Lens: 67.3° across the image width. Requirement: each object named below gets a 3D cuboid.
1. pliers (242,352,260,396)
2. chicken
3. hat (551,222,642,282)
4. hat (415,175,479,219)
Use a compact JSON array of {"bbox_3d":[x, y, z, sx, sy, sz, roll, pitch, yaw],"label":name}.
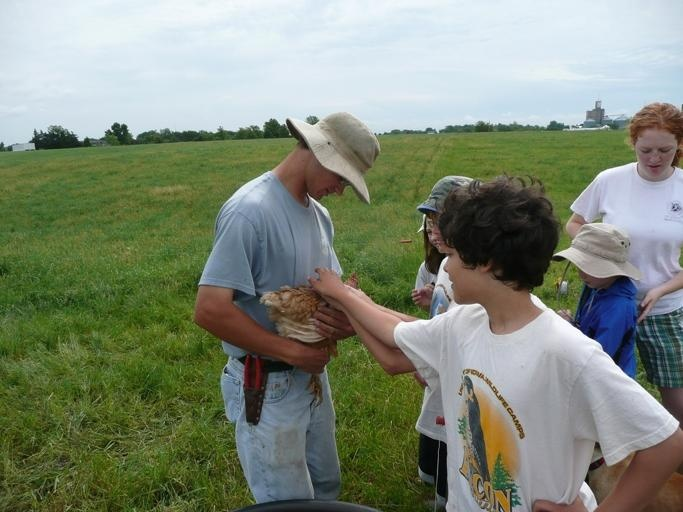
[{"bbox_3d":[-0.610,0.788,3.512,0.113,0.290,0.031,4,19,-2],"label":"pliers"},{"bbox_3d":[-0.189,0.400,3.480,0.703,0.656,0.256,3,-26,-7],"label":"chicken"},{"bbox_3d":[2.117,0.036,4.395,0.580,0.567,0.690,0,19,-27],"label":"hat"},{"bbox_3d":[0.847,-0.519,4.231,0.350,0.379,0.344,10,18,23],"label":"hat"}]
